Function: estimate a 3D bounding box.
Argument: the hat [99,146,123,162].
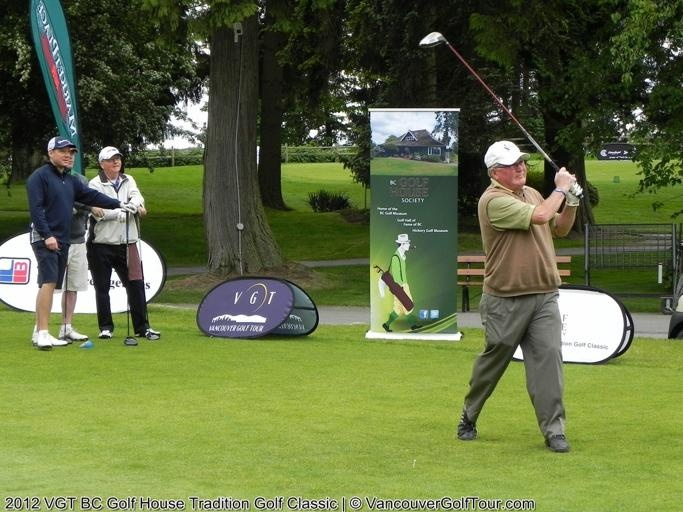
[{"bbox_3d":[-2.974,-1.341,12.201,0.245,0.180,0.329,-7,1,-23],"label":"hat"}]

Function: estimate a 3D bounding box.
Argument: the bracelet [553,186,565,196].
[{"bbox_3d":[1.919,-0.557,8.357,0.093,0.071,0.147,2,6,12],"label":"bracelet"}]

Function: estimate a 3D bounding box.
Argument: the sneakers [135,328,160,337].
[{"bbox_3d":[-2.533,1.036,12.562,0.294,0.140,0.132,-2,-3,16],"label":"sneakers"}]

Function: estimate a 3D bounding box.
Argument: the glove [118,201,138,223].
[{"bbox_3d":[-2.674,-0.547,11.940,0.130,0.376,0.199,-4,8,27],"label":"glove"}]

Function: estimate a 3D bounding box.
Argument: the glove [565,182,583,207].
[{"bbox_3d":[2.068,-0.541,8.477,0.181,0.188,0.095,28,-8,-25],"label":"glove"}]

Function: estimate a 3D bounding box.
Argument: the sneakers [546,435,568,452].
[{"bbox_3d":[1.863,1.613,8.191,0.207,0.138,0.154,2,6,15],"label":"sneakers"}]

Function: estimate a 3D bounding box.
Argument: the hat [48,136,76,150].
[{"bbox_3d":[-3.373,-1.327,11.375,0.268,0.148,0.197,-3,1,27],"label":"hat"}]

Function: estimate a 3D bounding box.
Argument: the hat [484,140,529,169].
[{"bbox_3d":[1.481,-0.883,8.539,0.240,0.185,0.309,-23,5,-39],"label":"hat"}]

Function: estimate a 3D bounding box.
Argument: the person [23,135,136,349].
[{"bbox_3d":[-3.370,-0.129,11.491,0.548,2.569,0.809,4,6,29],"label":"person"}]

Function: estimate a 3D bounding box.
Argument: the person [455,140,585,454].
[{"bbox_3d":[1.577,0.325,8.445,0.972,2.654,0.734,2,6,14],"label":"person"}]

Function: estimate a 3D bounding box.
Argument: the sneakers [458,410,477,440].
[{"bbox_3d":[1.124,1.561,8.520,0.129,0.248,0.250,1,-8,-5],"label":"sneakers"}]
